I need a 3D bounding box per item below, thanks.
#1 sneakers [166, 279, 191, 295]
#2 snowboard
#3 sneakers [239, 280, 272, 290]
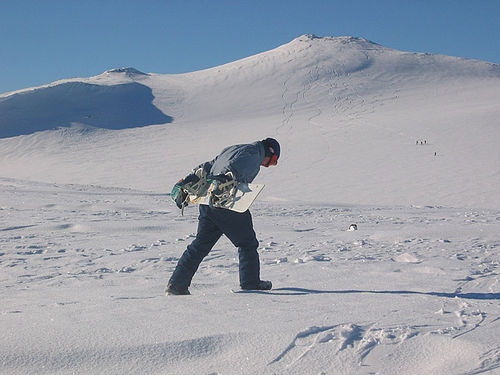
[{"bbox_3d":[-1.403,1.976,13.748,0.647,0.202,0.208,2,-1,-40],"label":"sneakers"},{"bbox_3d":[-0.308,0.109,13.354,1.996,0.547,0.158,8,-25,35],"label":"snowboard"},{"bbox_3d":[0.156,1.922,13.940,0.683,0.203,0.189,-2,-5,-3],"label":"sneakers"}]
